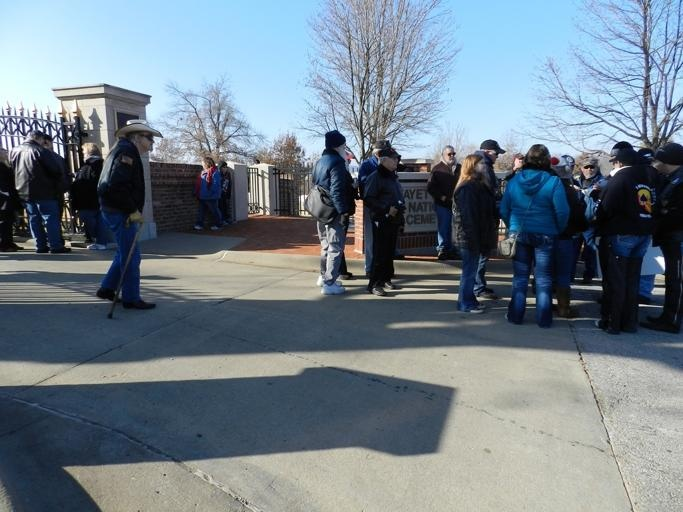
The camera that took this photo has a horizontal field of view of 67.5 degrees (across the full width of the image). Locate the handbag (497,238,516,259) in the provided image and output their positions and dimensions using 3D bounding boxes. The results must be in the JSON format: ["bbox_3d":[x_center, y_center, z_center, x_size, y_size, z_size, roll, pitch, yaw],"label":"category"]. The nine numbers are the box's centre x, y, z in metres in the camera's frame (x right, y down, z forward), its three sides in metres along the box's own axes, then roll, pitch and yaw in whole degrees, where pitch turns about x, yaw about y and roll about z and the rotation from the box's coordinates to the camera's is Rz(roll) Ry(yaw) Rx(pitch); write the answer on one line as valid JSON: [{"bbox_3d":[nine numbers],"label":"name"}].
[{"bbox_3d":[1.919,-0.087,5.875,0.169,0.243,0.086,-4,-11,27],"label":"handbag"}]

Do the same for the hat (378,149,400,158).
[{"bbox_3d":[0.653,-1.404,6.954,0.280,0.170,0.362,1,7,9],"label":"hat"}]

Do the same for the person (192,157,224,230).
[{"bbox_3d":[-3.436,-1.583,12.983,0.694,1.783,0.850,-2,8,-14],"label":"person"}]

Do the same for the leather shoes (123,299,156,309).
[{"bbox_3d":[-2.384,0.554,6.004,0.372,0.155,0.135,-2,3,-22],"label":"leather shoes"}]

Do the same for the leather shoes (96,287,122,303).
[{"bbox_3d":[-2.811,0.464,6.125,0.304,0.219,0.102,5,23,-32],"label":"leather shoes"}]

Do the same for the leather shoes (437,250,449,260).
[{"bbox_3d":[1.931,-0.019,9.621,0.112,0.138,0.197,0,-1,2],"label":"leather shoes"}]

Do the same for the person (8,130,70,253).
[{"bbox_3d":[-5.252,-1.103,8.861,0.909,2.089,0.514,2,8,15],"label":"person"}]

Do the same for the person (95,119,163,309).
[{"bbox_3d":[-2.534,-0.498,6.020,0.751,2.203,0.778,-4,8,-27],"label":"person"}]

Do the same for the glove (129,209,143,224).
[{"bbox_3d":[-2.399,-0.449,5.959,0.159,0.150,0.161,0,-9,-6],"label":"glove"}]

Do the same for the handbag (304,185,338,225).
[{"bbox_3d":[-0.289,-0.698,6.908,0.172,0.509,0.582,-7,10,-42],"label":"handbag"}]

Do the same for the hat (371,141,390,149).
[{"bbox_3d":[0.591,-1.664,7.690,0.197,0.088,0.281,-9,7,-11],"label":"hat"}]
